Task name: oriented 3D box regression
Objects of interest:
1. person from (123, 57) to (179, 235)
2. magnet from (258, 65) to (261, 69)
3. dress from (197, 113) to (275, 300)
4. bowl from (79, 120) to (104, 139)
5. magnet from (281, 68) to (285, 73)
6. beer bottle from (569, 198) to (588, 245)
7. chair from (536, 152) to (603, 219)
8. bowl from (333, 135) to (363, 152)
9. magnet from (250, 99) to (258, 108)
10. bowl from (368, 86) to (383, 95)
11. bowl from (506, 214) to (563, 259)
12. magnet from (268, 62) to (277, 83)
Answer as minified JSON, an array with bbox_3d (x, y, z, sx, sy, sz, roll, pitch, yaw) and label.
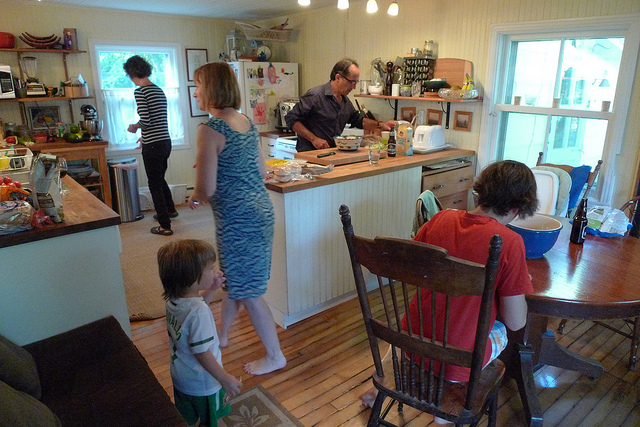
[{"bbox_3d":[-2.062,-0.837,5.183,0.415,2.016,1.061,-10,20,-20],"label":"person"},{"bbox_3d":[-0.859,-2.088,5.968,0.036,0.019,0.037,15,36,30],"label":"magnet"},{"bbox_3d":[-0.521,-0.019,2.813,0.410,1.237,0.313,-7,19,-13],"label":"dress"},{"bbox_3d":[-2.965,-1.100,5.555,0.238,0.214,0.299,1,3,11],"label":"bowl"},{"bbox_3d":[-0.548,-2.109,6.176,0.043,0.077,0.042,-11,23,-36],"label":"magnet"},{"bbox_3d":[1.700,0.042,2.754,0.089,0.285,0.176,10,22,31],"label":"beer bottle"},{"bbox_3d":[2.077,-0.221,3.487,0.341,0.555,0.323,-32,45,-30],"label":"chair"},{"bbox_3d":[0.261,-0.670,4.004,0.247,0.143,0.203,-2,19,2],"label":"bowl"},{"bbox_3d":[-0.947,-1.577,6.008,0.022,0.116,0.118,13,24,38],"label":"magnet"},{"bbox_3d":[0.660,-1.478,5.024,0.116,0.060,0.119,0,19,0],"label":"bowl"},{"bbox_3d":[1.326,0.144,2.627,0.302,0.193,0.308,6,17,-2],"label":"bowl"},{"bbox_3d":[-0.687,-2.044,6.096,0.136,0.269,0.025,-19,25,-39],"label":"magnet"}]
